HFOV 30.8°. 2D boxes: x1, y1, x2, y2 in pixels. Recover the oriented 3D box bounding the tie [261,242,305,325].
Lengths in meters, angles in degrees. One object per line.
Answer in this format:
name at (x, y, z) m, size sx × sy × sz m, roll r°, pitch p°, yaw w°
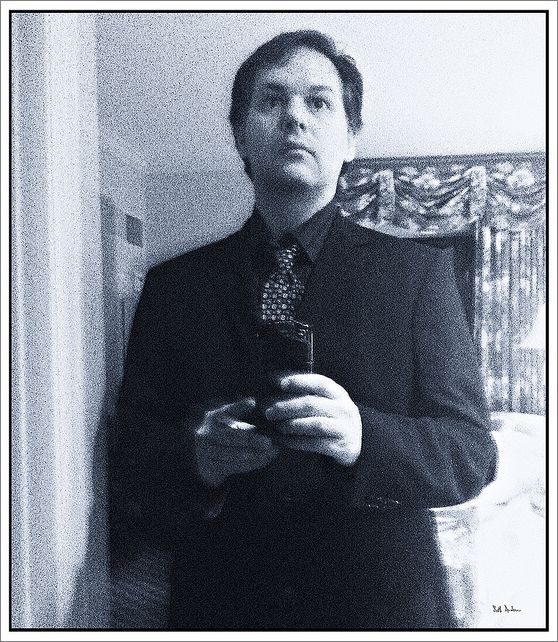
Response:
tie at (0.012, -0.096, 2.418) m, size 0.090 × 0.238 × 0.034 m, roll 10°, pitch 38°, yaw 1°
